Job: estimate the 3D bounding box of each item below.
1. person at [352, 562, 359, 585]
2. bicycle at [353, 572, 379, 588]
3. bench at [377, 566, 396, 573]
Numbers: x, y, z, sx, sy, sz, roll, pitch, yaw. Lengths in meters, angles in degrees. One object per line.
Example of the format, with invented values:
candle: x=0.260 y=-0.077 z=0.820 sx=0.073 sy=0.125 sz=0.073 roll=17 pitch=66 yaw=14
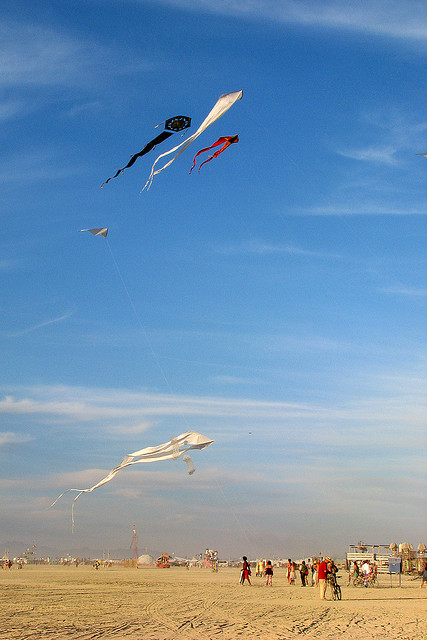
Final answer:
person: x=7.243 y=12.919 z=46.929 sx=0.241 sy=0.944 sz=0.969 roll=-3 pitch=-10 yaw=9
bicycle: x=7.515 y=13.153 z=46.144 sx=1.425 sy=0.815 sz=0.676 roll=-16 pitch=-50 yaw=26
bench: x=10.596 y=15.333 z=56.738 sx=1.149 sy=0.244 sz=1.081 roll=-2 pitch=-2 yaw=10
